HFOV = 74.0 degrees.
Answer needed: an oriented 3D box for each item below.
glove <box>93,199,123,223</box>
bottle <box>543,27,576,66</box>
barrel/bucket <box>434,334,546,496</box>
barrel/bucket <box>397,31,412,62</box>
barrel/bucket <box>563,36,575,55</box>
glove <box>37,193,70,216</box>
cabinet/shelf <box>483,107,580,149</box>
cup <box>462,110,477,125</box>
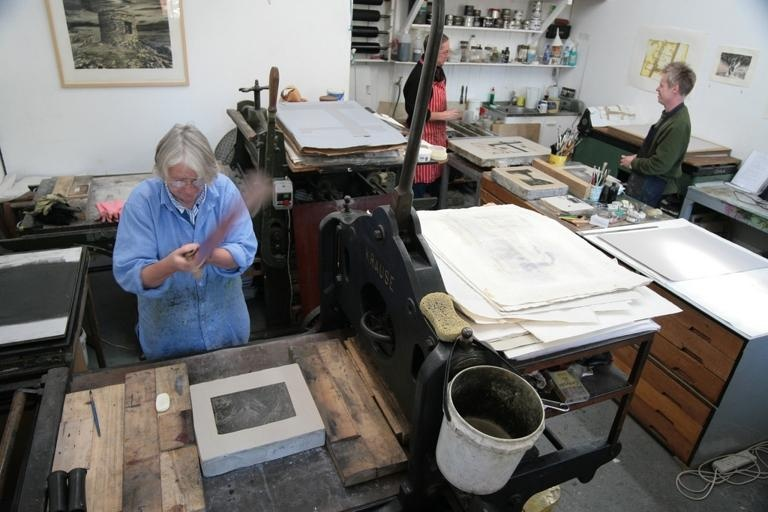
[{"bbox_3d":[-2.108,-0.330,3.884,0.227,0.085,0.231,-6,27,-24],"label":"glove"},{"bbox_3d":[2.538,-3.019,7.371,0.301,0.566,0.310,-2,37,1],"label":"bottle"},{"bbox_3d":[0.380,0.708,1.928,0.364,0.592,0.304,8,29,8],"label":"barrel/bucket"},{"bbox_3d":[0.245,-2.542,6.225,0.169,0.334,0.235,-2,41,-10],"label":"barrel/bucket"},{"bbox_3d":[2.702,-3.067,7.462,0.088,0.178,0.268,-1,72,2],"label":"barrel/bucket"},{"bbox_3d":[-2.526,-0.388,3.849,0.233,0.103,0.184,8,37,7],"label":"glove"},{"bbox_3d":[1.813,-1.582,6.358,0.901,0.645,0.522,-5,32,-10],"label":"cabinet/shelf"},{"bbox_3d":[1.074,-1.716,6.392,0.176,0.134,0.178,10,24,-4],"label":"cup"}]
